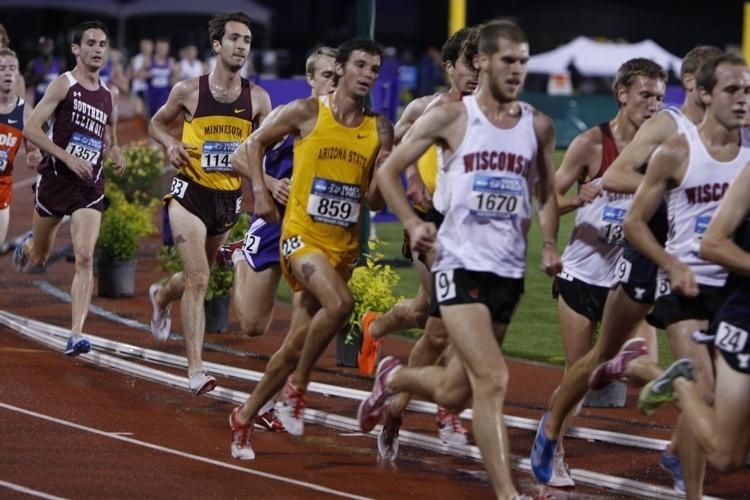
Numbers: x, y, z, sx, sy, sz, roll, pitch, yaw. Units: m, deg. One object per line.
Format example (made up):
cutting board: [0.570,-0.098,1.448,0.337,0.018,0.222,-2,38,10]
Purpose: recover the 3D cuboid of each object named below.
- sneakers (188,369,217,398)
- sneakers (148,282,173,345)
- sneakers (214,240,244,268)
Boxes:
sneakers: [-1.381,1.062,6.688,0.121,0.147,0.303,-10,-8,-35]
sneakers: [-2.080,0.665,8.115,0.195,0.639,0.257,-3,9,-7]
sneakers: [-1.377,0.078,7.852,0.228,0.203,0.525,2,-17,-29]
